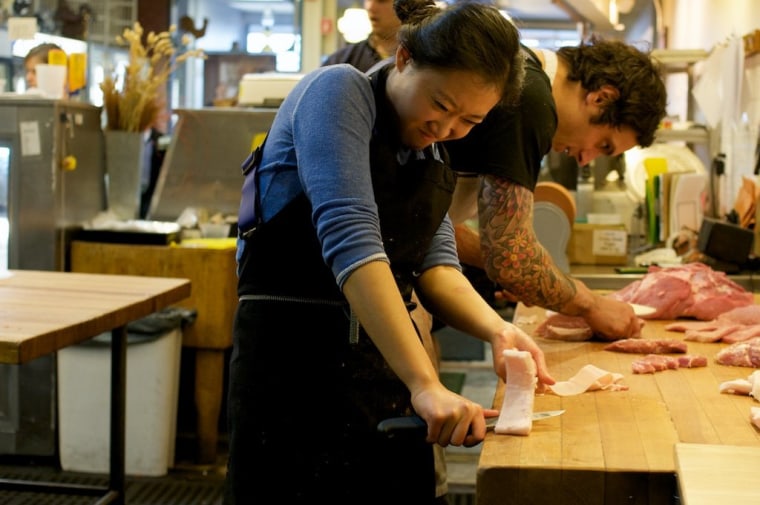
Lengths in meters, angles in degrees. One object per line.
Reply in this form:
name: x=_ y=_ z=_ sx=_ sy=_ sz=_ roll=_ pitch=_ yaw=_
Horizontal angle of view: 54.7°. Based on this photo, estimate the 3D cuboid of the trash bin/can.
trash bin/can: x=-1.382 y=0.751 z=4.494 sx=0.774 sy=0.937 sz=0.937 roll=0 pitch=-3 yaw=-1

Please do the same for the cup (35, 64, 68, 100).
cup: x=-1.929 y=-1.016 z=4.332 sx=0.178 sy=0.185 sz=0.147 roll=-2 pitch=7 yaw=-37

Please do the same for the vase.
vase: x=-1.553 y=-0.474 z=4.456 sx=0.227 sy=0.521 sz=0.189 roll=0 pitch=5 yaw=-19
